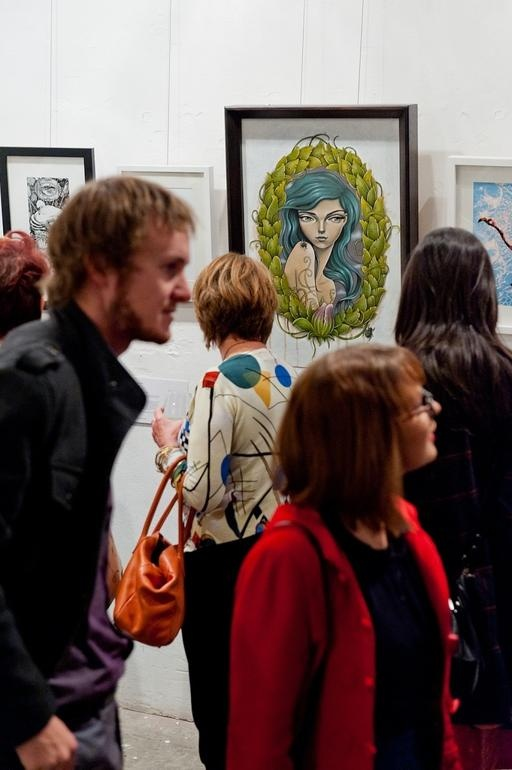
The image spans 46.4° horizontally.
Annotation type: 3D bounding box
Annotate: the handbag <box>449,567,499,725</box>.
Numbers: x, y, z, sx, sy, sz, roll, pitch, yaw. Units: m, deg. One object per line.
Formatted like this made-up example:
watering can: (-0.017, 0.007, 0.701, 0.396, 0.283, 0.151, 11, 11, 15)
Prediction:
handbag: (0.495, 0.607, 1.368, 0.100, 0.451, 0.100, -5, -9, 37)

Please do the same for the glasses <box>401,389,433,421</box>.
glasses: (0.233, 0.026, 0.857, 0.040, 0.019, 0.046, -13, 15, 6)
